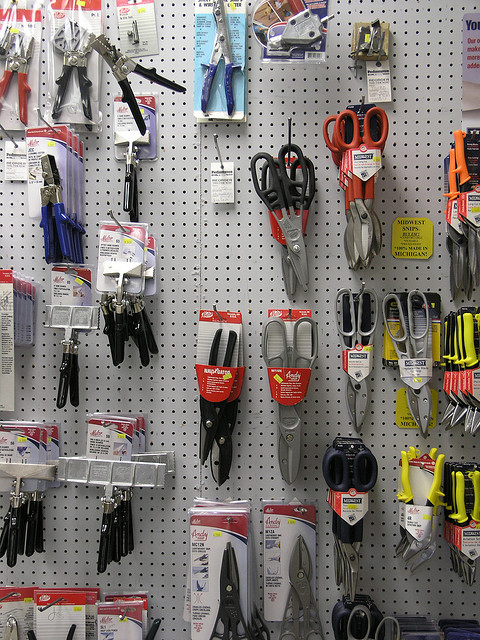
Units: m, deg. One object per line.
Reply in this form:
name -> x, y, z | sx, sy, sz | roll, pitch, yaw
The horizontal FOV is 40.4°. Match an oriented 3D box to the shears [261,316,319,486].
shears -> 0.108, 0.173, 1.421 | 0.082, 0.039, 0.417 | -5, 58, 13

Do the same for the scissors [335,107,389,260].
scissors -> 0.243, -0.282, 1.331 | 0.084, 0.037, 0.372 | -5, 60, 22

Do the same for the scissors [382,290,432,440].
scissors -> 0.375, 0.108, 1.409 | 0.084, 0.048, 0.391 | -2, 37, 9

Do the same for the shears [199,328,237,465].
shears -> -0.046, 0.161, 1.426 | 0.051, 0.046, 0.411 | -6, 44, 11

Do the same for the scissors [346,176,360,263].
scissors -> 0.242, -0.218, 1.399 | 0.031, 0.025, 0.218 | -14, 57, 34

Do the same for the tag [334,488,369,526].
tag -> 0.226, 0.378, 1.331 | 0.064, 0.052, 0.118 | -1, 82, 1

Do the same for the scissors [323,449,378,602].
scissors -> 0.219, 0.413, 1.278 | 0.092, 0.045, 0.355 | -11, 33, 16

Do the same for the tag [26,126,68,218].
tag -> -0.416, -0.329, 1.423 | 0.093, 0.245, 0.023 | -12, 54, -25

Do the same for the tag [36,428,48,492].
tag -> -0.435, 0.309, 1.444 | 0.014, 0.028, 0.136 | 4, 84, 3

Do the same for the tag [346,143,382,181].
tag -> 0.254, -0.330, 1.350 | 0.040, 0.008, 0.076 | -1, 92, 4

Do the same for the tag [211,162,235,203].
tag -> -0.038, -0.306, 1.453 | 0.044, 0.010, 0.138 | 0, 89, 0

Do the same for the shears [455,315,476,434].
shears -> 0.452, 0.109, 1.314 | 0.007, 0.039, 0.238 | 0, 87, -4

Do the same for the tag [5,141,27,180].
tag -> -0.505, -0.361, 1.477 | 0.044, 0.012, 0.153 | 0, 91, -3

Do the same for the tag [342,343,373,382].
tag -> 0.250, 0.087, 1.391 | 0.044, 0.011, 0.114 | -1, 89, 4

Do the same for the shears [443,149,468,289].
shears -> 0.449, -0.195, 1.372 | 0.031, 0.335, 0.042 | 2, 14, 15

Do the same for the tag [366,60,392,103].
tag -> 0.306, -0.530, 1.443 | 0.047, 0.001, 0.161 | 0, 98, 5

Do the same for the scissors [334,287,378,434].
scissors -> 0.248, 0.085, 1.376 | 0.089, 0.036, 0.432 | -7, 41, 15

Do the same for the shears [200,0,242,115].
shears -> -0.044, -0.568, 1.419 | 0.091, 0.060, 0.233 | -3, 84, 2

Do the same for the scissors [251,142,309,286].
scissors -> 0.110, -0.231, 1.468 | 0.110, 0.423, 0.054 | -6, 59, 11

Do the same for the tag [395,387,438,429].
tag -> 0.386, 0.183, 1.423 | 0.098, 0.153, 0.013 | 1, 41, 23

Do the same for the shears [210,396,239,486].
shears -> -0.035, 0.245, 1.403 | 0.038, 0.301, 0.033 | 1, 32, -8

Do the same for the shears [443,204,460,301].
shears -> 0.458, -0.114, 1.411 | 0.027, 0.185, 0.016 | 7, 42, 30

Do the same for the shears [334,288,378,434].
shears -> 0.257, 0.084, 1.430 | 0.077, 0.394, 0.027 | 3, 35, 17

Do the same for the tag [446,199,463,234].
tag -> 0.439, -0.215, 1.350 | 0.011, 0.033, 0.070 | -5, 95, -26

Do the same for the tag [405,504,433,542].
tag -> 0.359, 0.404, 1.311 | 0.045, 0.048, 0.123 | 0, 91, 1

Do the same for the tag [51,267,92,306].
tag -> -0.372, -0.075, 1.449 | 0.089, 0.147, 0.017 | -5, 48, -21

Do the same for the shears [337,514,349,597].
shears -> 0.210, 0.486, 1.363 | 0.009, 0.009, 0.127 | 19, 64, -27

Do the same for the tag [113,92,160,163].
tag -> -0.226, -0.427, 1.439 | 0.084, 0.014, 0.227 | 1, 95, 10

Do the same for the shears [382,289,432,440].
shears -> 0.388, 0.074, 1.479 | 0.088, 0.383, 0.045 | -1, 47, 22

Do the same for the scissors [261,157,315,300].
scissors -> 0.101, -0.209, 1.469 | 0.105, 0.043, 0.456 | -2, 57, 2
